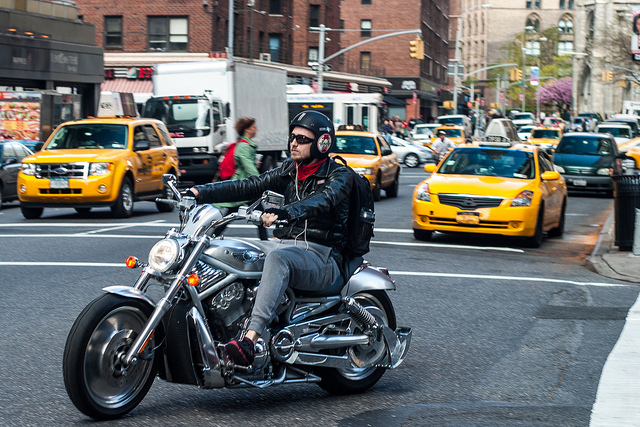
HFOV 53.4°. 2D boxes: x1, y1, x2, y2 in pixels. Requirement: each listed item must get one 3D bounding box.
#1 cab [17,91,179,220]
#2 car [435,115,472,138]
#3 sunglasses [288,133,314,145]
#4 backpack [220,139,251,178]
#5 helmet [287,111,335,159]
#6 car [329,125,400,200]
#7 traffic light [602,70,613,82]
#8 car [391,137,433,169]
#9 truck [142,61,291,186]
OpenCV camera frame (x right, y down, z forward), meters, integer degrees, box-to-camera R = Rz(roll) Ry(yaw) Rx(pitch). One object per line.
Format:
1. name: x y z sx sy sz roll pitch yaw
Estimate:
1. cab: -6.396 -1.790 18.952 3.050 3.210 5.878 2 8 4
2. car: 10.819 -7.069 51.313 2.452 2.183 4.232 -1 0 17
3. sunglasses: -0.119 -0.618 5.149 0.124 0.040 0.127 9 -9 39
4. backpack: -1.514 -0.962 11.950 0.756 0.650 0.448 2 4 -1
5. helmet: -0.065 -0.646 5.234 0.359 0.392 0.331 1 7 -2
6. car: 1.650 -1.908 22.205 1.733 1.410 3.289 1 0 14
7. traffic light: 30.585 -14.534 67.418 0.809 1.043 0.871 3 7 20
8. car: 5.678 -3.496 39.338 3.969 1.782 2.239 -2 9 6
9. truck: -4.560 -4.051 28.788 4.065 4.673 8.900 2 10 15
